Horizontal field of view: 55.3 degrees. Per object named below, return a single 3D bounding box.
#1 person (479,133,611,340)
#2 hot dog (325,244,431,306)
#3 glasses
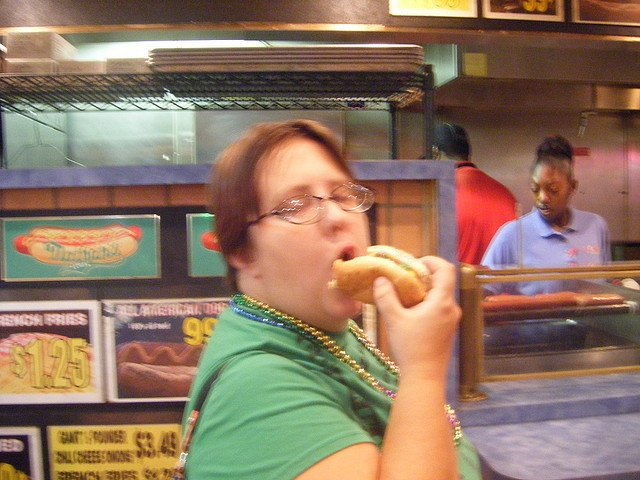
[{"bbox_3d":[1.397,-0.094,3.629,0.860,1.202,1.379,-1,1,12],"label":"person"},{"bbox_3d":[0.204,0.120,2.117,0.284,0.079,0.264,-8,23,-44],"label":"hot dog"},{"bbox_3d":[-0.004,-0.120,2.150,0.265,0.056,0.264,-12,-1,-44],"label":"glasses"}]
